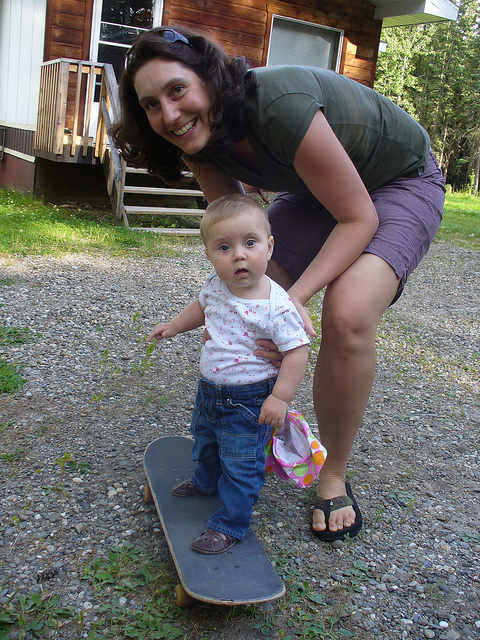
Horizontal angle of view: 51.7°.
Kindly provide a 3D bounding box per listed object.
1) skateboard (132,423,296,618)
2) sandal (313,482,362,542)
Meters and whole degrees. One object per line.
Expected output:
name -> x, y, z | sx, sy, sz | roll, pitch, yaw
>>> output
skateboard -> -0.166, 0.597, 1.569 | 0.223, 0.133, 0.832 | -3, 20, -20
sandal -> 0.347, 0.648, 1.763 | 0.163, 0.095, 0.363 | -10, 9, 9
